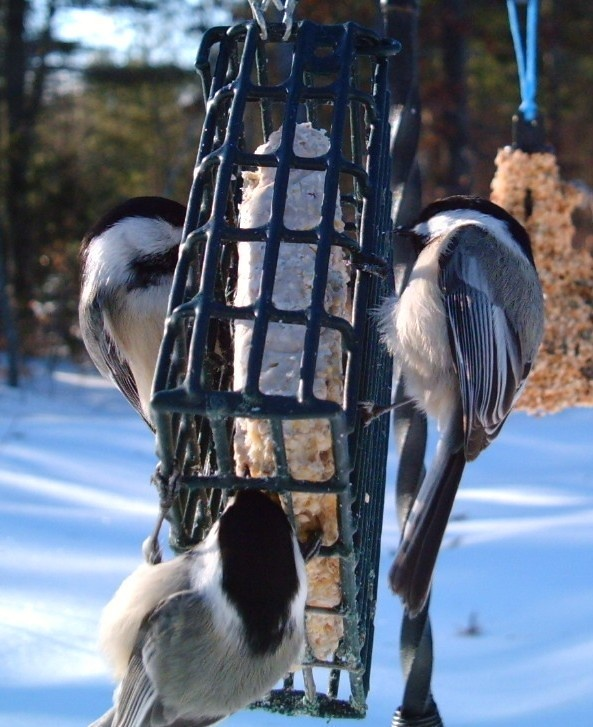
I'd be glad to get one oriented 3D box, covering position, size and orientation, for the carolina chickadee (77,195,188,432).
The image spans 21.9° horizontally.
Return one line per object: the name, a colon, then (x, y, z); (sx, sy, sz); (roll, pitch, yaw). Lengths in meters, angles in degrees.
carolina chickadee: (-0.605, -0.156, 5.963); (0.373, 0.940, 0.687); (-11, 37, -20)
